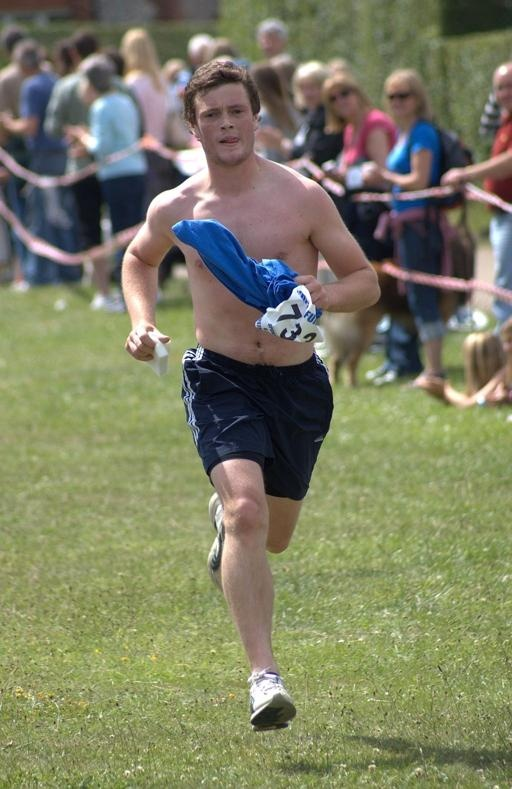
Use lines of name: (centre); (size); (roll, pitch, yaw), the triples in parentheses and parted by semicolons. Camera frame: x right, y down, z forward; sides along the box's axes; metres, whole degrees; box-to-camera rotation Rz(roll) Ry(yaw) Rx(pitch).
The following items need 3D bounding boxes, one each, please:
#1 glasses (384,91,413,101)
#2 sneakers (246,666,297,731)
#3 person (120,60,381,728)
glasses: (0.823, -1.718, 6.237); (0.120, 0.045, 0.134); (1, 8, 5)
sneakers: (0.035, 0.733, 2.551); (0.101, 0.136, 0.148); (0, 13, 0)
person: (-0.072, -0.066, 2.928); (0.772, 1.640, 1.100); (2, 14, 7)
